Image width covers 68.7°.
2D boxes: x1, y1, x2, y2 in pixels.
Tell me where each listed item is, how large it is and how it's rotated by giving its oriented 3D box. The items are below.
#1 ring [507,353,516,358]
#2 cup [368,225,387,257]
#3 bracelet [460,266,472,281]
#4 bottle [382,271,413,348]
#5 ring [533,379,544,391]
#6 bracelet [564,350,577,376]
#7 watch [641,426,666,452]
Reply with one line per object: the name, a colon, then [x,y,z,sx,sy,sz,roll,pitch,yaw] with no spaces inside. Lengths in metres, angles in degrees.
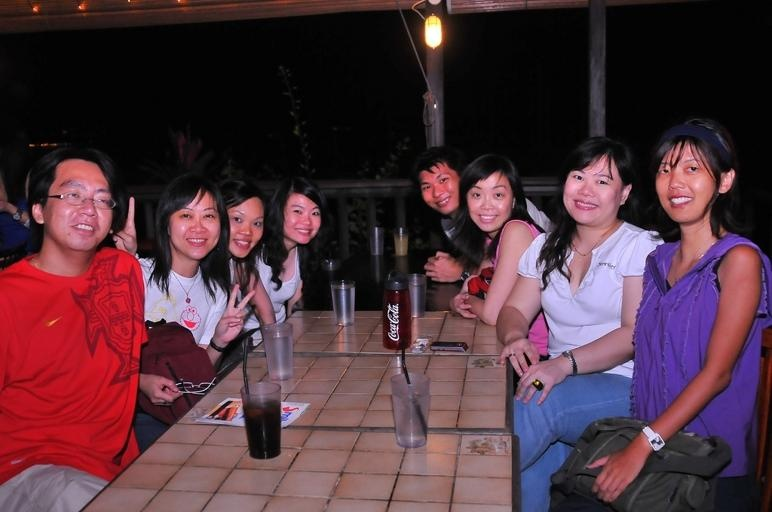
ring: [0.540,0.433,2.444,0.025,0.017,0.024,-1,-3,0]
cup: [-0.072,-0.119,4.590,0.091,0.235,0.124,-4,14,-10]
bracelet: [0.517,0.120,3.675,0.056,0.063,0.065,2,-11,7]
bottle: [0.049,0.256,2.540,0.124,0.329,0.187,-1,14,0]
ring: [0.654,0.558,2.432,0.045,0.022,0.038,6,-13,43]
bracelet: [0.834,0.491,2.547,0.038,0.090,0.082,-5,6,-3]
watch: [1.005,0.691,2.125,0.059,0.089,0.042,-33,-6,-7]
